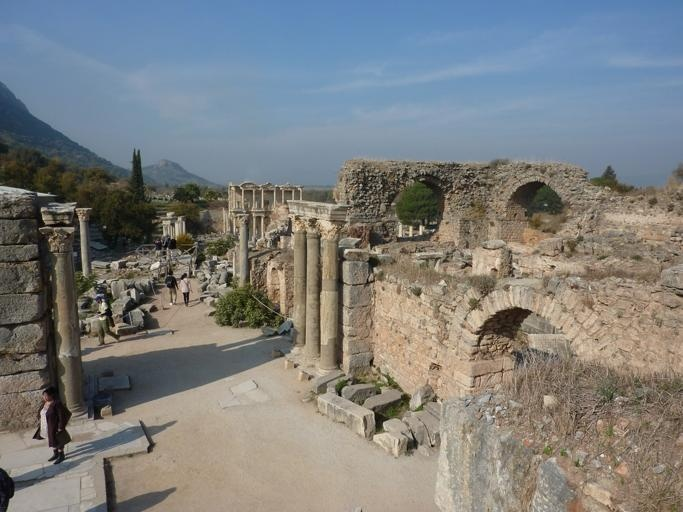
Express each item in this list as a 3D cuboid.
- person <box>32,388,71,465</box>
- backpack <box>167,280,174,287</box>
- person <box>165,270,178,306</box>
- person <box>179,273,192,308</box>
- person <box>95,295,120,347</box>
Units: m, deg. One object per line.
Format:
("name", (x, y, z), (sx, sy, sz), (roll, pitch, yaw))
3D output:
("person", (-5.349, 2.957, 8.495), (0.558, 1.337, 1.181), (-7, 15, -35))
("backpack", (-6.627, 1.075, 18.022), (0.286, 0.234, 0.415), (-2, 3, -5))
("person", (-6.806, 1.227, 18.642), (0.341, 1.185, 1.724), (-3, 13, -20))
("person", (-6.218, 1.267, 18.478), (0.309, 1.234, 1.317), (-3, 13, -20))
("person", (-7.148, 1.814, 14.117), (0.570, 1.523, 1.198), (-5, 14, -27))
